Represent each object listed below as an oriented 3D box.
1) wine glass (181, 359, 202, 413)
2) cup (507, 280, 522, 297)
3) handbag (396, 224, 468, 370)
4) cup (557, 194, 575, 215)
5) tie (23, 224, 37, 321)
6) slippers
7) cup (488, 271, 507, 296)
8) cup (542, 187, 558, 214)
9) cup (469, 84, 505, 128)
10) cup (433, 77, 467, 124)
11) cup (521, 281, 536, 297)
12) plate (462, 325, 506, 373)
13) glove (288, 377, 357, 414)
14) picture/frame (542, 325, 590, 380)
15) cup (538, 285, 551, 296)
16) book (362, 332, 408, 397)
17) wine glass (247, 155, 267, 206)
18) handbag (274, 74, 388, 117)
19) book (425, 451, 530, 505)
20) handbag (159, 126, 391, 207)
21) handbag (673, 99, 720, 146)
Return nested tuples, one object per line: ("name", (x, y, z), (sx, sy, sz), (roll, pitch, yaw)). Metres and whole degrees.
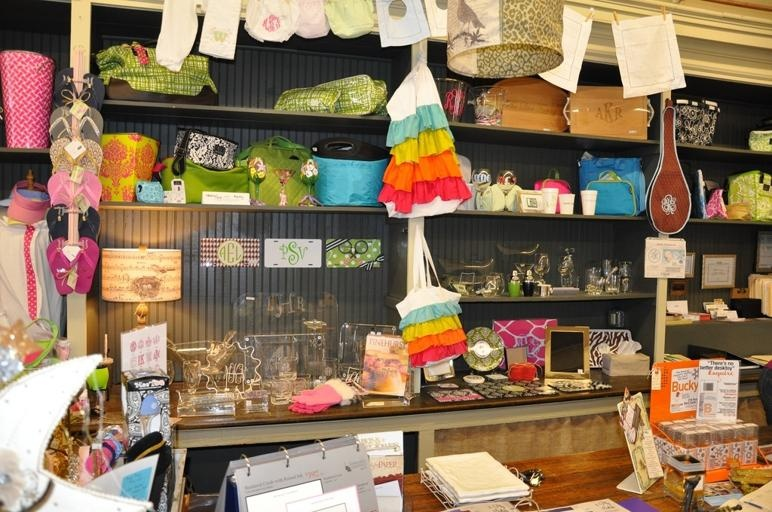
("wine glass", (-1.138, 0.735, 3.672), (0.090, 0.226, 0.317), (-1, -3, -18))
("cup", (0.865, 0.221, 4.164), (0.100, 0.118, 0.100), (0, -2, 0))
("handbag", (0.266, 0.233, 3.779), (0.404, 0.919, 0.258), (-2, -3, 1))
("cup", (1.210, -0.354, 4.207), (0.136, 0.147, 0.140), (0, -4, 0))
("tie", (-1.973, 0.092, 3.460), (0.064, 0.521, 0.043), (-2, -3, 6))
("slippers", (-1.716, -0.401, 3.445), (0.304, 1.239, 0.237), (-1, -4, -19))
("cup", (0.796, 0.191, 4.252), (0.120, 0.152, 0.163), (-1, -4, 25))
("cup", (1.089, -0.365, 4.120), (0.147, 0.201, 0.161), (0, 0, 0))
("cup", (0.641, -0.966, 4.071), (0.247, 0.215, 0.257), (-2, 0, 0))
("cup", (0.429, -1.001, 4.069), (0.286, 0.291, 0.285), (-1, 5, 0))
("cup", (0.953, 0.222, 4.160), (0.097, 0.110, 0.096), (2, -8, 0))
("plate", (0.659, 0.635, 4.211), (0.294, 0.292, 0.067), (12, -10, -4))
("glove", (-0.361, 0.828, 3.616), (0.256, 0.061, 0.185), (-7, 15, -35))
("picture/frame", (1.209, 0.657, 4.147), (0.357, 0.422, 0.033), (1, -5, 0))
("cup", (1.076, 0.237, 4.203), (0.080, 0.058, 0.064), (1, -2, 12))
("book", (0.002, 0.672, 3.741), (0.370, 0.465, 0.065), (3, -16, 1))
("wine glass", (-0.776, -0.450, 3.774), (0.112, 0.309, 0.130), (-1, -3, -11))
("handbag", (-0.314, -0.932, 3.804), (0.513, 0.173, 0.324), (0, 3, -1))
("book", (0.416, 1.015, 2.820), (0.419, 0.159, 0.258), (-2, -3, -9))
("handbag", (-0.643, -0.431, 3.829), (1.012, 0.346, 0.616), (1, 3, -17))
("handbag", (2.160, -0.946, 4.360), (0.449, 0.318, 0.268), (-1, 1, -36))
